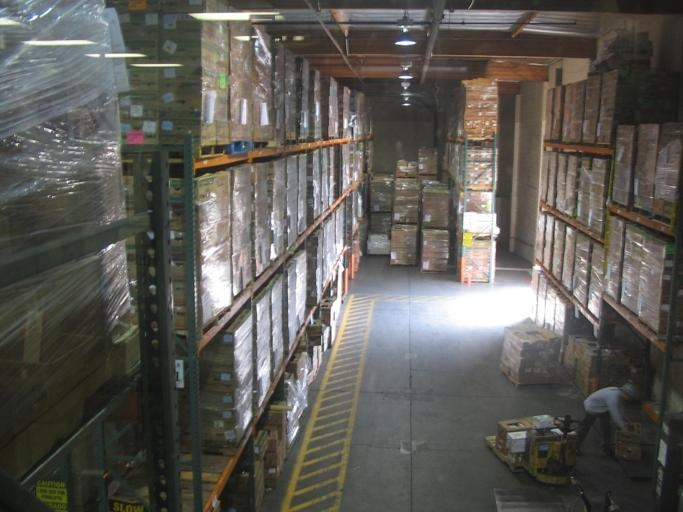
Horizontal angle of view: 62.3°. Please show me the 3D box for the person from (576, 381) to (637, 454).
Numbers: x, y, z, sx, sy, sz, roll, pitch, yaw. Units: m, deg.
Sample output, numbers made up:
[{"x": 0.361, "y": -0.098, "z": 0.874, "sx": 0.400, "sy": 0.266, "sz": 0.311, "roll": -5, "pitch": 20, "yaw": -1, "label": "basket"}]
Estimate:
[{"x": 3.603, "y": 2.199, "z": 7.599, "sx": 0.641, "sy": 0.296, "sz": 0.937, "roll": 5, "pitch": -42, "yaw": 27, "label": "person"}]
